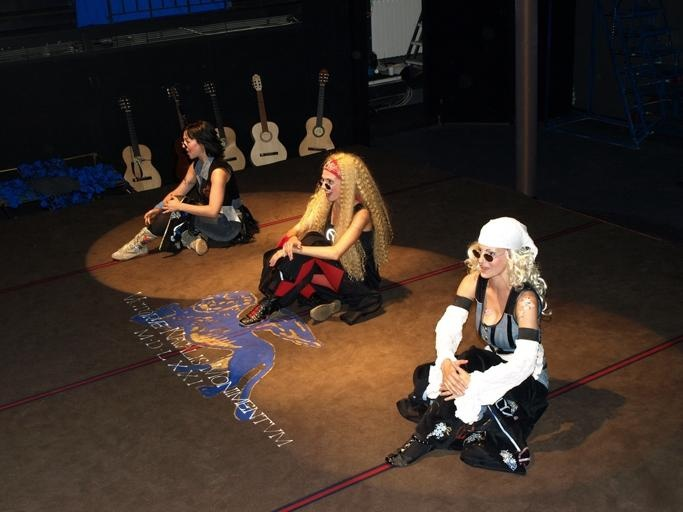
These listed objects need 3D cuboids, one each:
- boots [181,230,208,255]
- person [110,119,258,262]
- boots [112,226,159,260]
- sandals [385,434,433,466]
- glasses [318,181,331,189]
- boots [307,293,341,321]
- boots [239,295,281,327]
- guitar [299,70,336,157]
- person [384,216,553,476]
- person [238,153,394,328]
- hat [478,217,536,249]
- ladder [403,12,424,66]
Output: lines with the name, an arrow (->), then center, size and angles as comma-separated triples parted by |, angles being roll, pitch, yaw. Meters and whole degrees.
boots -> -1.434, -0.161, 5.008 | 0.142, 0.139, 0.367 | -28, 47, -37
person -> -1.509, -0.584, 4.938 | 1.600, 1.102, 0.756 | -9, 21, -17
boots -> -2.036, -0.087, 4.995 | 0.429, 0.219, 0.133 | -6, 2, 4
sandals -> 0.343, 0.978, 2.570 | 0.228, 0.088, 0.074 | -27, 51, 4
glasses -> -0.111, -0.496, 3.648 | 0.076, 0.020, 0.068 | 15, 51, 26
boots -> -0.105, 0.400, 3.929 | 0.316, 0.094, 0.113 | -17, 18, -36
boots -> -0.673, 0.435, 3.934 | 0.431, 0.128, 0.158 | -24, -9, -1
guitar -> -0.343, -2.114, 7.571 | 0.466, 1.160, 0.839 | 10, 32, 24
person -> 0.659, 0.435, 2.504 | 0.716, 1.145, 0.805 | 8, 31, 22
person -> -0.189, -0.123, 3.832 | 1.087, 1.201, 0.640 | 0, 30, 7
hat -> 0.815, -0.108, 2.484 | 0.237, 0.092, 0.153 | 0, 19, -20
ladder -> 1.297, -3.868, 9.201 | 0.297, 0.784, 0.483 | -2, 29, 4
